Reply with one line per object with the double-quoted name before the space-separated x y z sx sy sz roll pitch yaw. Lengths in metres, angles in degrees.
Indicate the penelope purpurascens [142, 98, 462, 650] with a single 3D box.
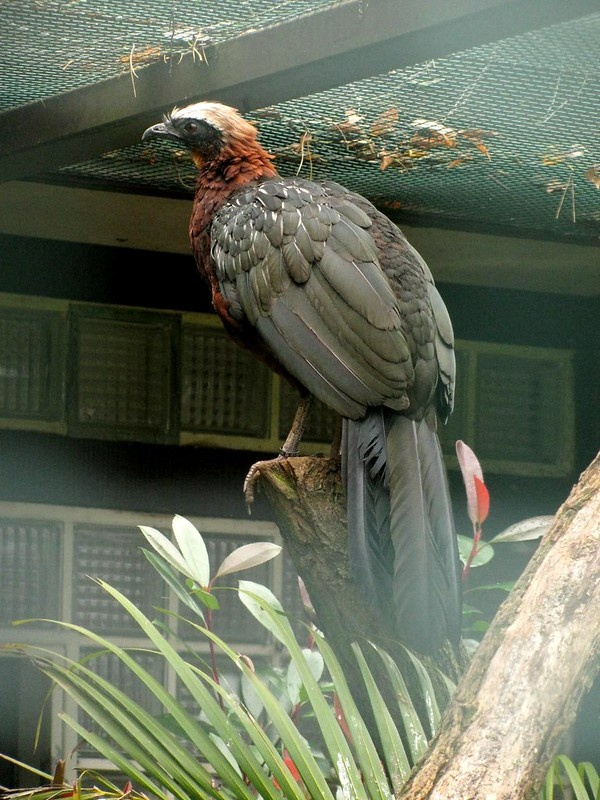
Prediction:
"penelope purpurascens" 0.085 -0.122 3.767 0.548 1.500 0.962 2 -7 -40
